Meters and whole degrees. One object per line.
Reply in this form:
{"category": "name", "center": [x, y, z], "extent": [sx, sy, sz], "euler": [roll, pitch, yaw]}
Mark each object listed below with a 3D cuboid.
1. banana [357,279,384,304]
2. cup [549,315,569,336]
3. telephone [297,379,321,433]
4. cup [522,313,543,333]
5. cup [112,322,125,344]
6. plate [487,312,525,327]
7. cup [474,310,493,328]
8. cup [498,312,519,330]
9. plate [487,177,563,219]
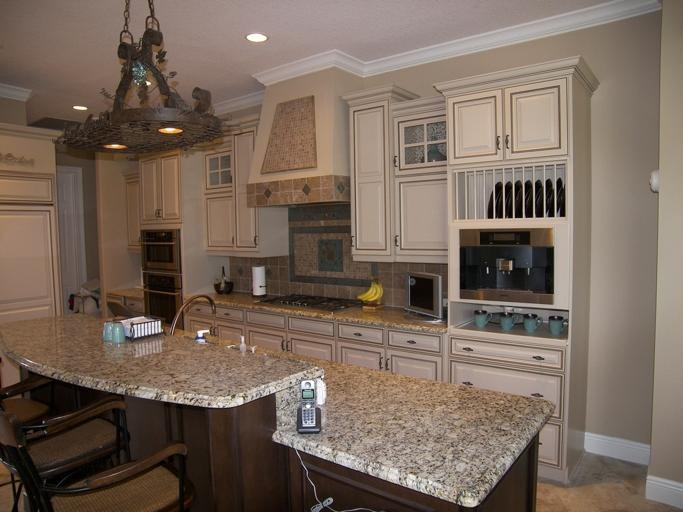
{"category": "banana", "center": [0.286, 0.368, 5.104], "extent": [0.183, 0.174, 0.262], "euler": [10, -40, -22]}
{"category": "cup", "center": [1.691, 0.527, 3.950], "extent": [0.109, 0.123, 0.167], "euler": [-3, 5, -40]}
{"category": "telephone", "center": [-0.160, 0.742, 2.559], "extent": [0.113, 0.238, 0.119], "euler": [-1, 3, -5]}
{"category": "cup", "center": [1.476, 0.517, 4.035], "extent": [0.156, 0.144, 0.105], "euler": [0, -2, 11]}
{"category": "cup", "center": [-1.494, 0.510, 3.475], "extent": [0.078, 0.126, 0.066], "euler": [-2, 3, -23]}
{"category": "plate", "center": [1.381, 0.527, 4.371], "extent": [0.221, 0.101, 0.142], "euler": [4, -6, -14]}
{"category": "cup", "center": [1.167, 0.505, 4.263], "extent": [0.164, 0.151, 0.106], "euler": [2, -4, -18]}
{"category": "cup", "center": [1.320, 0.508, 4.086], "extent": [0.155, 0.141, 0.100], "euler": [3, -7, -17]}
{"category": "plate", "center": [1.417, -0.439, 3.998], "extent": [0.572, 0.296, 0.228], "euler": [1, 3, 21]}
